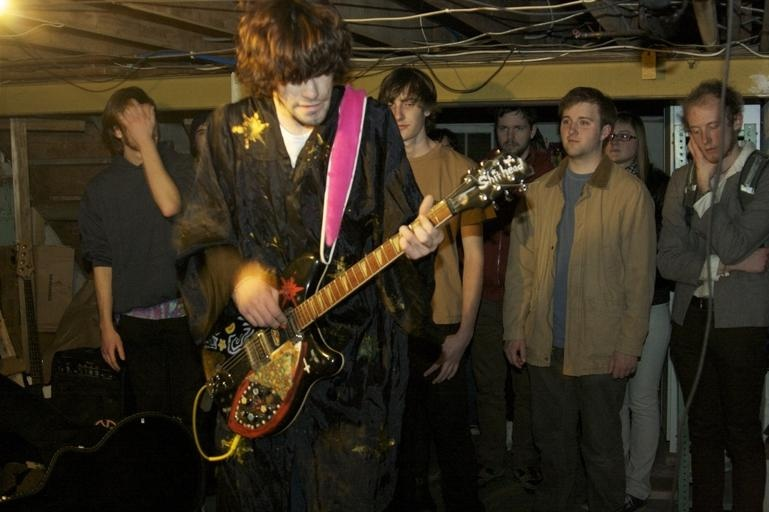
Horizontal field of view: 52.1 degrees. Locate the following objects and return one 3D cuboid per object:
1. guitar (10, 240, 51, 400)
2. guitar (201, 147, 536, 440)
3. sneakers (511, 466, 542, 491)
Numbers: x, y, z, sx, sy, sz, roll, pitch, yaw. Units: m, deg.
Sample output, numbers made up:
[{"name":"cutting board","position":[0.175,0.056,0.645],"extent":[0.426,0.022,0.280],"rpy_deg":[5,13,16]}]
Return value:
[{"name":"guitar","position":[-3.751,0.596,8.256],"extent":[0.250,1.463,0.264],"rpy_deg":[-7,11,-21]},{"name":"guitar","position":[-0.158,0.216,4.994],"extent":[2.247,0.840,0.391],"rpy_deg":[-39,-13,0]},{"name":"sneakers","position":[1.193,1.865,6.613],"extent":[0.217,0.085,0.311],"rpy_deg":[-9,22,11]}]
